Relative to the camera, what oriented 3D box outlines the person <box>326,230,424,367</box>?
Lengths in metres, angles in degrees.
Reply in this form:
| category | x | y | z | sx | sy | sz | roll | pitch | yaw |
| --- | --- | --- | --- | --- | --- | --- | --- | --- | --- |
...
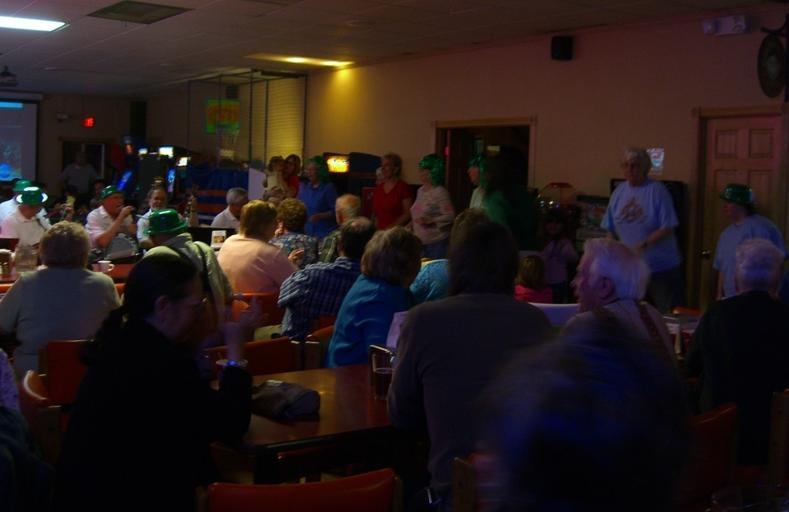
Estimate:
| category | x | y | z | sx | sy | sz | roll | pitch | yaw |
| --- | --- | --- | --- | --- | --- | --- | --- | --- | --- |
| person | -0.098 | 0.224 | 3.352 | 0.314 | 0.895 | 0.450 | -8 | 31 | -37 |

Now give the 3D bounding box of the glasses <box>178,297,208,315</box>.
| category | x | y | z | sx | sy | sz | roll | pitch | yaw |
| --- | --- | --- | --- | --- | --- | --- | --- | --- | --- |
| glasses | -0.766 | 0.187 | 2.413 | 0.042 | 0.049 | 0.053 | 1 | -33 | -43 |

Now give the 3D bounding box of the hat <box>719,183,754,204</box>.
| category | x | y | z | sx | sy | sz | roll | pitch | yaw |
| --- | --- | --- | --- | --- | --- | --- | --- | --- | --- |
| hat | 3.022 | -0.547 | 5.597 | 0.212 | 0.109 | 0.202 | 17 | 13 | 41 |

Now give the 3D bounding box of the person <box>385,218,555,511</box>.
| category | x | y | z | sx | sy | sz | roll | pitch | yaw |
| --- | --- | --- | --- | --- | --- | --- | --- | --- | --- |
| person | 0.289 | 0.456 | 2.429 | 0.473 | 1.161 | 0.503 | -2 | 8 | -25 |

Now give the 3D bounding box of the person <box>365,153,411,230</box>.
| category | x | y | z | sx | sy | sz | roll | pitch | yaw |
| --- | --- | --- | --- | --- | --- | --- | --- | --- | --- |
| person | -0.050 | -0.888 | 8.620 | 0.356 | 1.007 | 0.746 | -4 | 9 | -33 |

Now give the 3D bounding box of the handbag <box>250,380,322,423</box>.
| category | x | y | z | sx | sy | sz | roll | pitch | yaw |
| --- | --- | --- | --- | --- | --- | --- | --- | --- | --- |
| handbag | -0.479 | 0.625 | 2.722 | 0.199 | 0.067 | 0.155 | 9 | 6 | 39 |

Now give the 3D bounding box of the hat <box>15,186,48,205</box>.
| category | x | y | z | sx | sy | sz | roll | pitch | yaw |
| --- | --- | --- | --- | --- | --- | --- | --- | --- | --- |
| hat | -4.122 | -0.671 | 7.182 | 0.274 | 0.182 | 0.353 | 0 | -6 | -30 |
